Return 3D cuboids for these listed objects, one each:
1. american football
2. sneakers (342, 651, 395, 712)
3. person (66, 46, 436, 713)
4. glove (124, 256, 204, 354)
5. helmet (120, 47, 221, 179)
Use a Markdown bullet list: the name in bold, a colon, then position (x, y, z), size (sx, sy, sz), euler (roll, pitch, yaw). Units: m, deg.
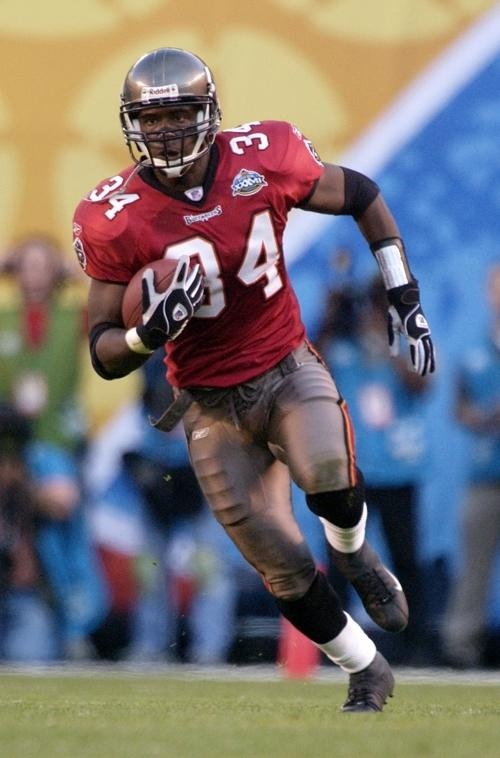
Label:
- **american football**: position (-0.254, -0.196, 1.962), size (0.179, 0.094, 0.132), euler (-40, 26, 10)
- **sneakers**: position (0.311, 0.774, 2.122), size (0.080, 0.089, 0.221), euler (-12, 1, 18)
- **person**: position (-0.033, 0.013, 2.142), size (0.745, 1.680, 0.766), euler (-6, 20, 3)
- **glove**: position (-0.198, -0.163, 1.930), size (0.198, 0.228, 0.187), euler (-9, 19, -8)
- **helmet**: position (-0.205, -0.677, 2.097), size (0.219, 0.321, 0.281), euler (3, 21, 24)
